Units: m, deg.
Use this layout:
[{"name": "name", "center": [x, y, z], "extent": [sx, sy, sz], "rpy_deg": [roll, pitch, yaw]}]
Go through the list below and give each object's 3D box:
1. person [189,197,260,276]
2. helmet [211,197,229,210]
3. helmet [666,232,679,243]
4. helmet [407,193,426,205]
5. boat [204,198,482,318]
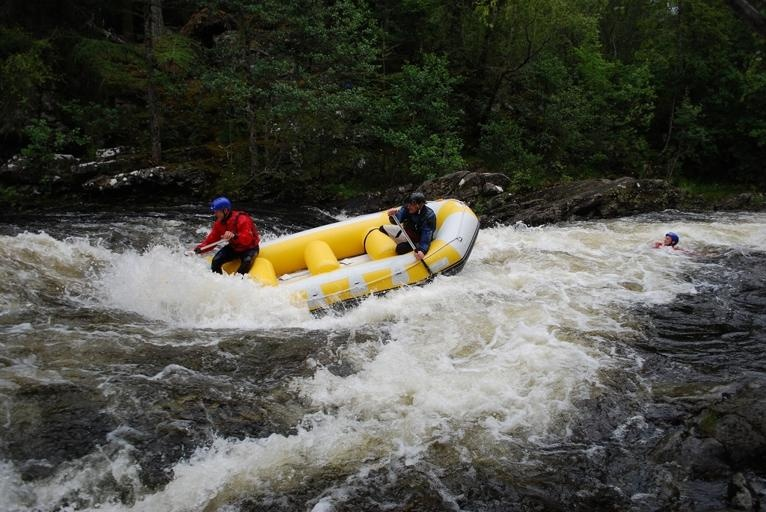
[{"name": "person", "center": [-3.636, -0.485, 14.435], "extent": [1.269, 1.736, 0.672], "rpy_deg": [-2, 16, -9]}, {"name": "helmet", "center": [-3.829, -1.257, 14.373], "extent": [0.360, 0.298, 0.273], "rpy_deg": [-22, 41, -23]}, {"name": "helmet", "center": [7.943, -0.477, 16.746], "extent": [0.299, 0.318, 0.588], "rpy_deg": [9, 17, 29]}, {"name": "helmet", "center": [0.818, -1.389, 14.898], "extent": [0.375, 0.250, 0.336], "rpy_deg": [-1, 15, -3]}, {"name": "boat", "center": [-0.321, 0.074, 14.809], "extent": [5.302, 1.262, 2.726], "rpy_deg": [-17, 37, -3]}]
